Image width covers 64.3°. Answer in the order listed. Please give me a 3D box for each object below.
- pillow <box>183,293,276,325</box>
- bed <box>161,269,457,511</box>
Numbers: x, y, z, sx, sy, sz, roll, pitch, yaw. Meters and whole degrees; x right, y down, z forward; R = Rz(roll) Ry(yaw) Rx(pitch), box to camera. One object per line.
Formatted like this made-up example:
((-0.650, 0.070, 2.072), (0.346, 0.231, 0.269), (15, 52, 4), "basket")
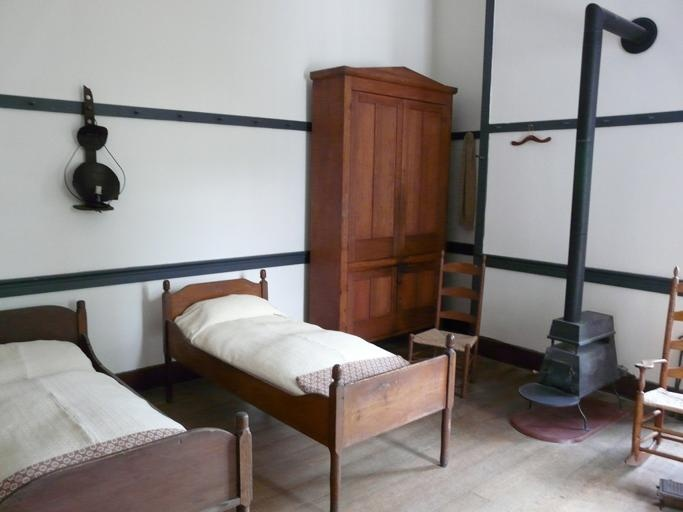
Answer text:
((-0.959, 0.461, 4.790), (0.523, 0.130, 0.331), (-5, 14, -37), "pillow")
((-0.338, 0.650, 4.541), (1.280, 1.455, 2.501), (-7, 13, -42), "bed")
